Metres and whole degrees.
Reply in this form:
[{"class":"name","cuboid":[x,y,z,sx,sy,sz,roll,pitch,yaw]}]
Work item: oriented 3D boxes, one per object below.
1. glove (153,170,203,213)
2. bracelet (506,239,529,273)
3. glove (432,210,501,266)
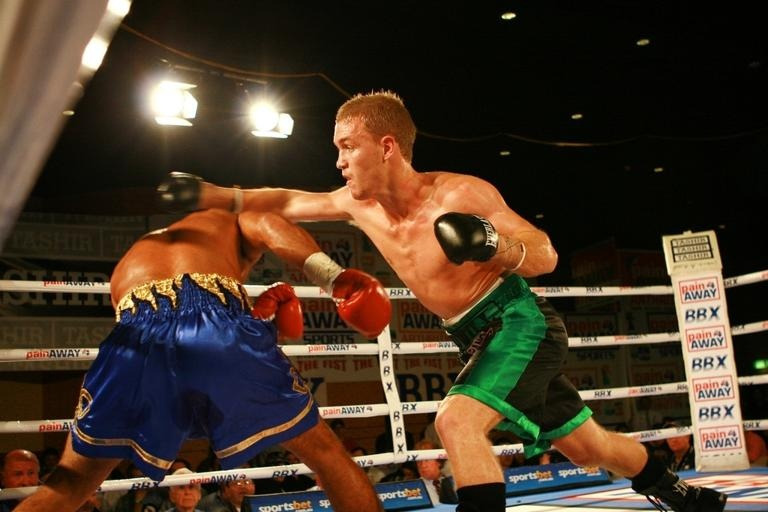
[{"class":"glove","cuboid":[-1.037,-0.337,3.548,0.231,0.162,0.213,11,11,-22]},{"class":"bracelet","cuboid":[0.600,0.004,3.304,0.088,0.110,0.111,10,37,-18]},{"class":"glove","cuboid":[0.394,-0.061,3.290,0.223,0.126,0.357,33,28,31]}]
